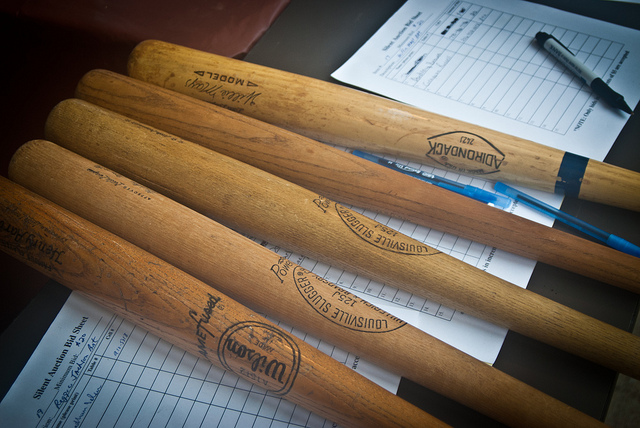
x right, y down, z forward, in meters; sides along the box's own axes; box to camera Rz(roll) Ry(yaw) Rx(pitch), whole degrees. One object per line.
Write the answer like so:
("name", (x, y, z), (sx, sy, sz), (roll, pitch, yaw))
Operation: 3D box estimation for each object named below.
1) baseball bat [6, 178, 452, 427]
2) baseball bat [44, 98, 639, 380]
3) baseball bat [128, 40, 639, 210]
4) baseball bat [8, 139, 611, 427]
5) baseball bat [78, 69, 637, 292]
("baseball bat", (-0.170, 0.166, 0.845), (0.735, 0.104, 0.110), (25, 24, 5))
("baseball bat", (0.026, 0.063, 0.874), (1.188, 0.135, 0.131), (18, -49, 5))
("baseball bat", (0.134, -0.165, 0.966), (0.969, 0.109, 0.106), (14, -49, 9))
("baseball bat", (-0.030, 0.137, 0.852), (0.956, 0.108, 0.105), (24, -34, 4))
("baseball bat", (0.053, -0.048, 0.912), (1.081, 0.112, 0.114), (18, 10, 6))
